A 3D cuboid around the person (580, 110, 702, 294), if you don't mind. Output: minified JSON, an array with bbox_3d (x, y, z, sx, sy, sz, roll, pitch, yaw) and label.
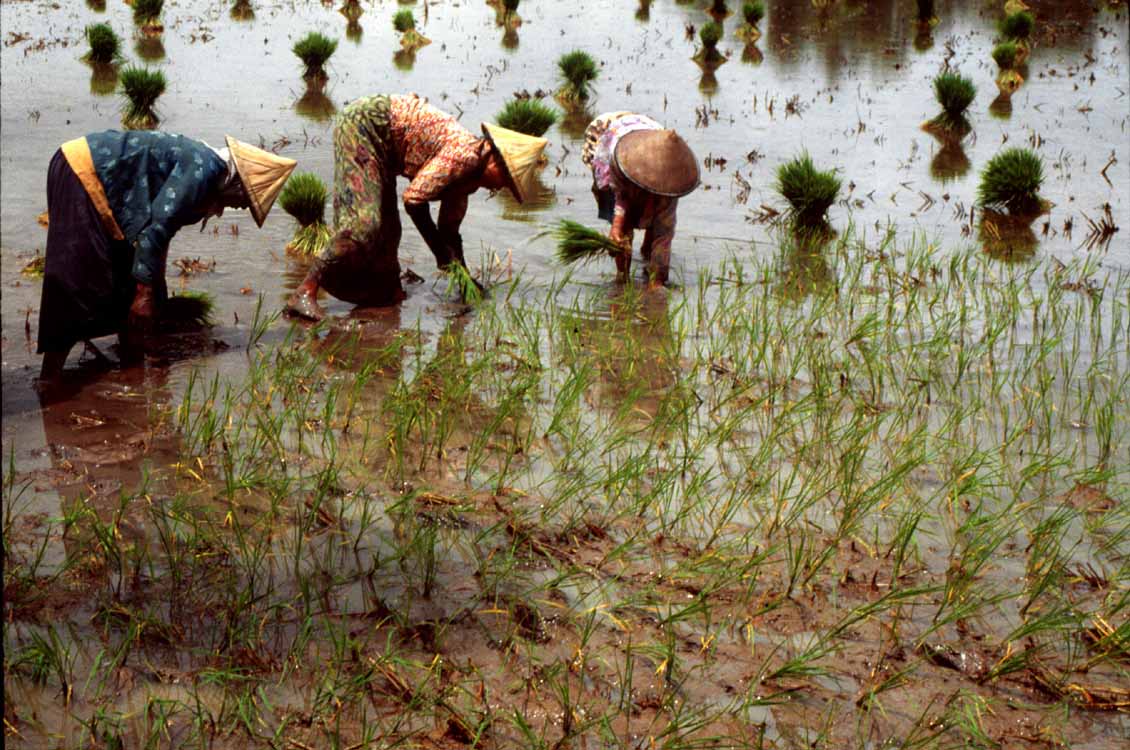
[{"bbox_3d":[0.617,-1.631,9.781,0.627,1.127,2.017,1,39,-13],"label":"person"}]

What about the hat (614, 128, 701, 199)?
[{"bbox_3d":[0.807,-1.959,9.594,0.758,0.361,0.873,10,49,-3],"label":"hat"}]

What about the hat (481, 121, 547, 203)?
[{"bbox_3d":[-0.455,-1.847,9.320,0.286,0.575,0.720,-10,20,-6],"label":"hat"}]
